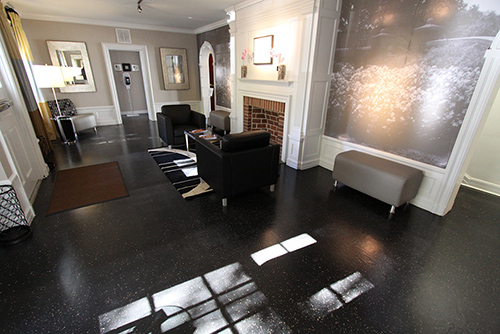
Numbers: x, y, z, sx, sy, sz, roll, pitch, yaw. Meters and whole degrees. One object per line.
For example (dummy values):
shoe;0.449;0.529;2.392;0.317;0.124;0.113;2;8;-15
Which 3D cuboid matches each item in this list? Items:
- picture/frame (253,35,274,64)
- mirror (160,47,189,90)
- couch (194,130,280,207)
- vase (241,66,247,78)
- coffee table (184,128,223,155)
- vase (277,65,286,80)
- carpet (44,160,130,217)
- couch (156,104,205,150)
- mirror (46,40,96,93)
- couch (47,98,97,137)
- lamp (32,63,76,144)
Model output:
picture/frame;0.255;-2.295;5.771;0.347;0.310;0.046;-14;29;-2
mirror;-2.190;-2.859;8.622;1.020;1.357;0.089;-15;30;-27
couch;-0.263;-0.184;5.135;1.229;1.164;1.237;-11;29;-23
vase;-0.128;-1.988;6.310;0.128;0.242;0.101;1;25;5
coffee table;-0.980;-0.630;6.128;0.529;0.441;0.921;-15;27;-34
vase;0.568;-1.722;5.498;0.148;0.259;0.134;3;25;10
carpet;-2.725;0.313;5.126;1.145;0.144;1.252;-12;26;-22
couch;-1.690;-1.013;6.996;1.048;1.053;1.071;-17;33;-30
mirror;-4.436;-2.473;7.571;0.039;1.239;0.846;8;20;43
couch;-4.384;-1.245;7.483;0.811;0.887;0.643;3;21;28
lamp;-4.341;-1.495;6.943;0.662;1.690;1.187;-14;27;-24
